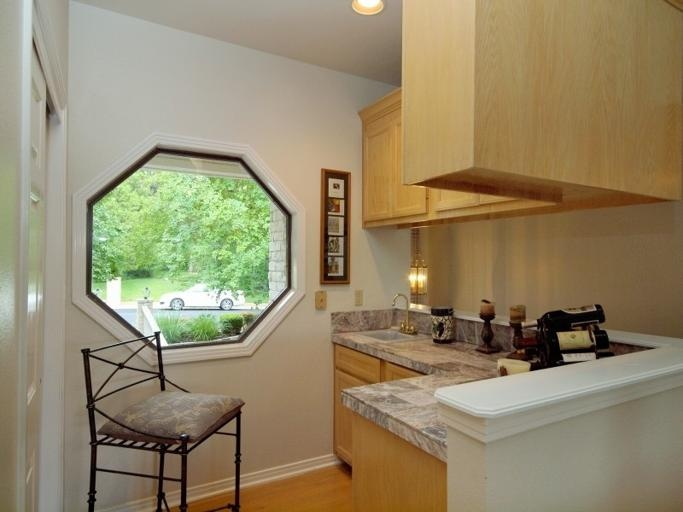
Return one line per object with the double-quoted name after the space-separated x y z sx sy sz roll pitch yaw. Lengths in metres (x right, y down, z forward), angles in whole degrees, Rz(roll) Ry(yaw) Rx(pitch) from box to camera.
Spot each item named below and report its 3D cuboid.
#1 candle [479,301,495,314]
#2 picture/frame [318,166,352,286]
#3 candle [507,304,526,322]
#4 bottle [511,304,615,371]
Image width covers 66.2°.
0.853 0.313 3.089 0.072 0.072 0.073 -11 -15 44 "candle"
-0.049 -0.202 3.645 0.279 0.776 0.052 -3 -1 -36 "picture/frame"
0.973 0.315 2.910 0.097 0.108 0.099 -3 5 -19 "candle"
1.004 0.377 2.435 0.399 0.311 0.237 -5 6 -9 "bottle"
